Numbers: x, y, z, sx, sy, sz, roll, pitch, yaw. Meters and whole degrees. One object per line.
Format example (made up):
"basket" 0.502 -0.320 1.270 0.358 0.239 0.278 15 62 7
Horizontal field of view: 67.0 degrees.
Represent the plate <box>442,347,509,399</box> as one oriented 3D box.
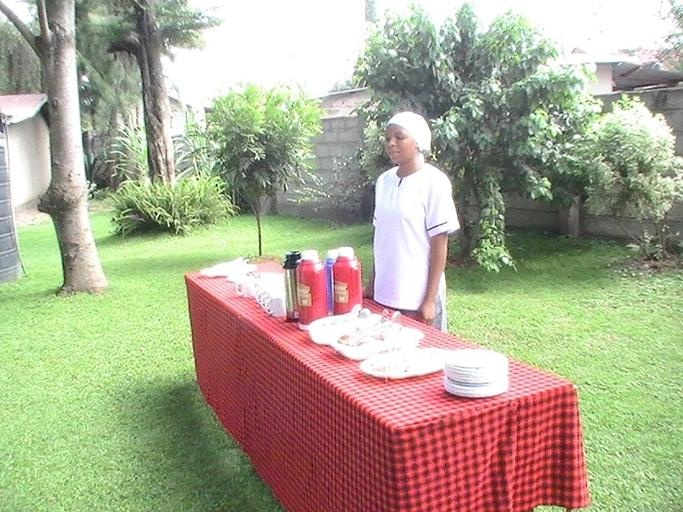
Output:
"plate" 0.599 0.504 2.299 0.275 0.172 0.256 -1 10 18
